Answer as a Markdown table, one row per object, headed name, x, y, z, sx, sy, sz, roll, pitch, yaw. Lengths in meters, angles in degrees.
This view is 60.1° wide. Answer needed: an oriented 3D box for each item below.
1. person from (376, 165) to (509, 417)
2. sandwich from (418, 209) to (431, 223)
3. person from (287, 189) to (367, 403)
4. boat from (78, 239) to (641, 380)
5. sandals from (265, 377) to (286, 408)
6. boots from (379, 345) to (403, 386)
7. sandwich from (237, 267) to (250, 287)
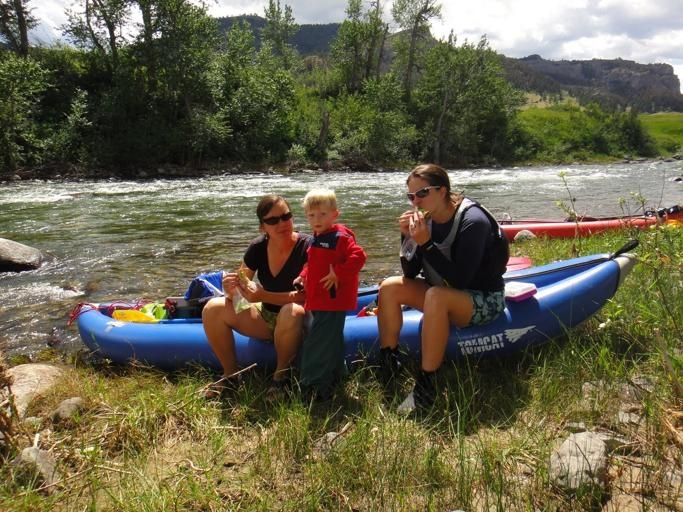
| name | x | y | z | sx | sy | sz | roll | pitch | yaw |
| --- | --- | --- | --- | --- | --- | --- | --- | --- | --- |
| person | 0.689 | 0.138 | 4.384 | 0.980 | 1.599 | 0.719 | -11 | 18 | -36 |
| sandwich | 0.612 | -0.308 | 4.427 | 0.105 | 0.103 | 0.081 | 7 | 19 | 21 |
| person | -0.063 | 0.266 | 4.234 | 0.442 | 1.428 | 0.470 | 1 | 14 | 2 |
| boat | 0.219 | 0.458 | 4.710 | 2.740 | 0.613 | 0.863 | -5 | 7 | 4 |
| sandals | -0.464 | 0.977 | 4.236 | 0.151 | 0.141 | 0.210 | -1 | 15 | -4 |
| boots | 0.371 | 0.785 | 4.445 | 0.127 | 0.221 | 0.214 | -11 | 4 | 32 |
| sandwich | -0.726 | 0.157 | 4.426 | 0.054 | 0.148 | 0.105 | -9 | -2 | 17 |
